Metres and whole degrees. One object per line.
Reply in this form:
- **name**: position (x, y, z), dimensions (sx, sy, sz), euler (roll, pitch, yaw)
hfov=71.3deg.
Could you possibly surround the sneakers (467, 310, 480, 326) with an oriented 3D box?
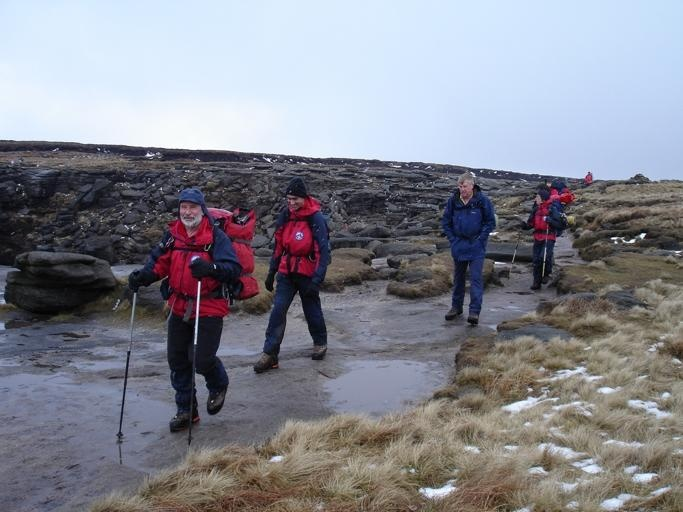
- **sneakers**: position (2.348, 1.103, 8.489), dimensions (0.198, 0.252, 0.261), euler (-2, 6, 13)

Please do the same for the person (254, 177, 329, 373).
- **person**: position (-0.704, 0.216, 6.668), dimensions (1.157, 2.594, 0.755), euler (-5, 6, -10)

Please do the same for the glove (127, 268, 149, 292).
- **glove**: position (-2.054, 0.227, 4.945), dimensions (0.291, 0.212, 0.178), euler (5, 21, -23)

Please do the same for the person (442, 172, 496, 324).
- **person**: position (2.329, -0.150, 8.716), dimensions (0.916, 2.710, 0.940), euler (-5, 6, -7)

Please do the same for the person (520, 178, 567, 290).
- **person**: position (5.147, -0.478, 12.039), dimensions (0.984, 2.549, 1.123), euler (-3, 6, 16)

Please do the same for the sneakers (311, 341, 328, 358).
- **sneakers**: position (-0.316, 1.373, 6.933), dimensions (0.204, 0.187, 0.521), euler (-1, -11, 6)

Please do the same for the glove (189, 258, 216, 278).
- **glove**: position (-1.302, 0.134, 4.610), dimensions (0.262, 0.164, 0.178), euler (18, -8, 6)

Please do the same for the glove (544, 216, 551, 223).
- **glove**: position (5.058, -0.892, 11.674), dimensions (0.117, 0.120, 0.137), euler (-3, -5, 32)

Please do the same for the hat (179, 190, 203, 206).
- **hat**: position (-1.527, -0.598, 4.845), dimensions (0.219, 0.181, 0.292), euler (-5, 6, -16)

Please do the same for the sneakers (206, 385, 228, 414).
- **sneakers**: position (-1.312, 1.531, 5.126), dimensions (0.153, 0.345, 0.186), euler (-6, -15, 27)

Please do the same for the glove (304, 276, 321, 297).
- **glove**: position (-0.389, 0.434, 6.575), dimensions (0.204, 0.281, 0.257), euler (-5, 6, -7)

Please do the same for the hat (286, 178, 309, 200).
- **hat**: position (-0.589, -0.945, 6.606), dimensions (0.294, 0.243, 0.329), euler (6, 8, 9)
